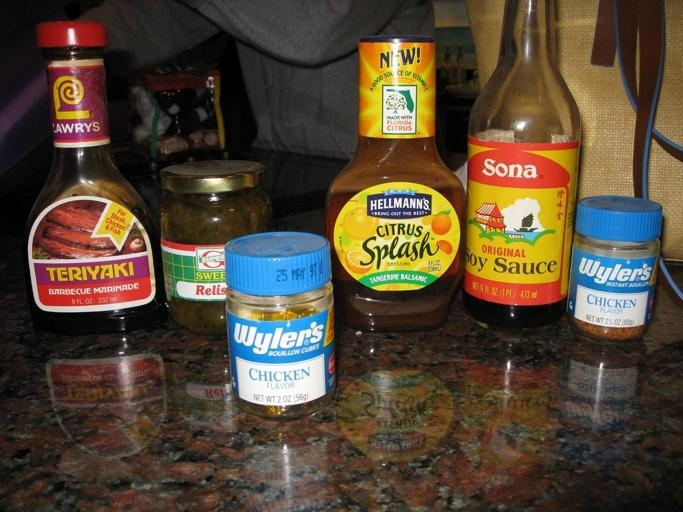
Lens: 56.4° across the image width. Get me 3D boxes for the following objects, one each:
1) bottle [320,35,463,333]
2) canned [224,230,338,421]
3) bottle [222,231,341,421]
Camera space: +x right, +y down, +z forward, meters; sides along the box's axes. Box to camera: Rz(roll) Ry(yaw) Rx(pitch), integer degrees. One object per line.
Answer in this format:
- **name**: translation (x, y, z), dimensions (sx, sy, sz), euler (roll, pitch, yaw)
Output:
- **bottle**: translation (0.065, -0.078, 0.755), dimensions (0.167, 0.342, 0.133), euler (1, 30, 9)
- **canned**: translation (-0.061, 0.066, 0.665), dimensions (0.107, 0.167, 0.145), euler (-3, 27, 0)
- **bottle**: translation (-0.061, 0.066, 0.665), dimensions (0.109, 0.167, 0.145), euler (-4, 27, -1)
